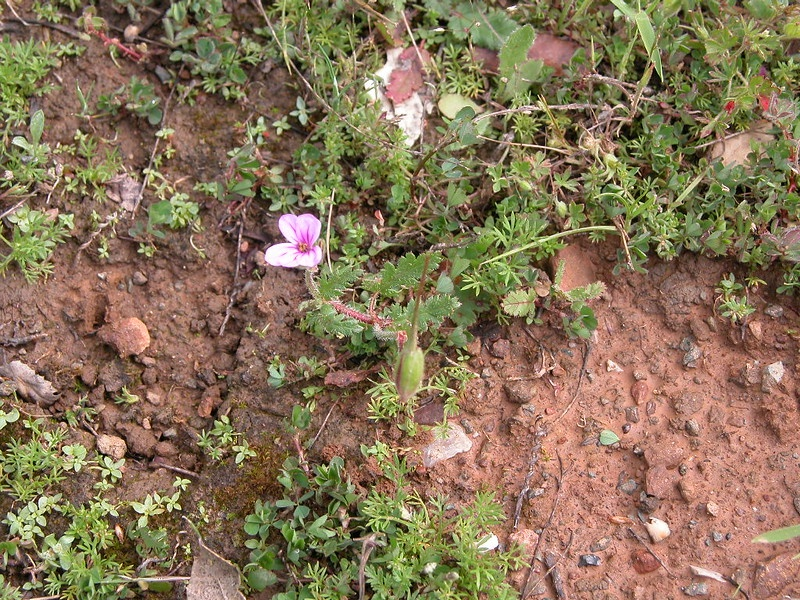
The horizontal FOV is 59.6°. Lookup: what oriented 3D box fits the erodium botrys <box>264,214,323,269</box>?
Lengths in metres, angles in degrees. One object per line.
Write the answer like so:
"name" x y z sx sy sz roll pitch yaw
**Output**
"erodium botrys" -0.534 -0.301 3.648 0.252 0.138 0.310 15 78 6
